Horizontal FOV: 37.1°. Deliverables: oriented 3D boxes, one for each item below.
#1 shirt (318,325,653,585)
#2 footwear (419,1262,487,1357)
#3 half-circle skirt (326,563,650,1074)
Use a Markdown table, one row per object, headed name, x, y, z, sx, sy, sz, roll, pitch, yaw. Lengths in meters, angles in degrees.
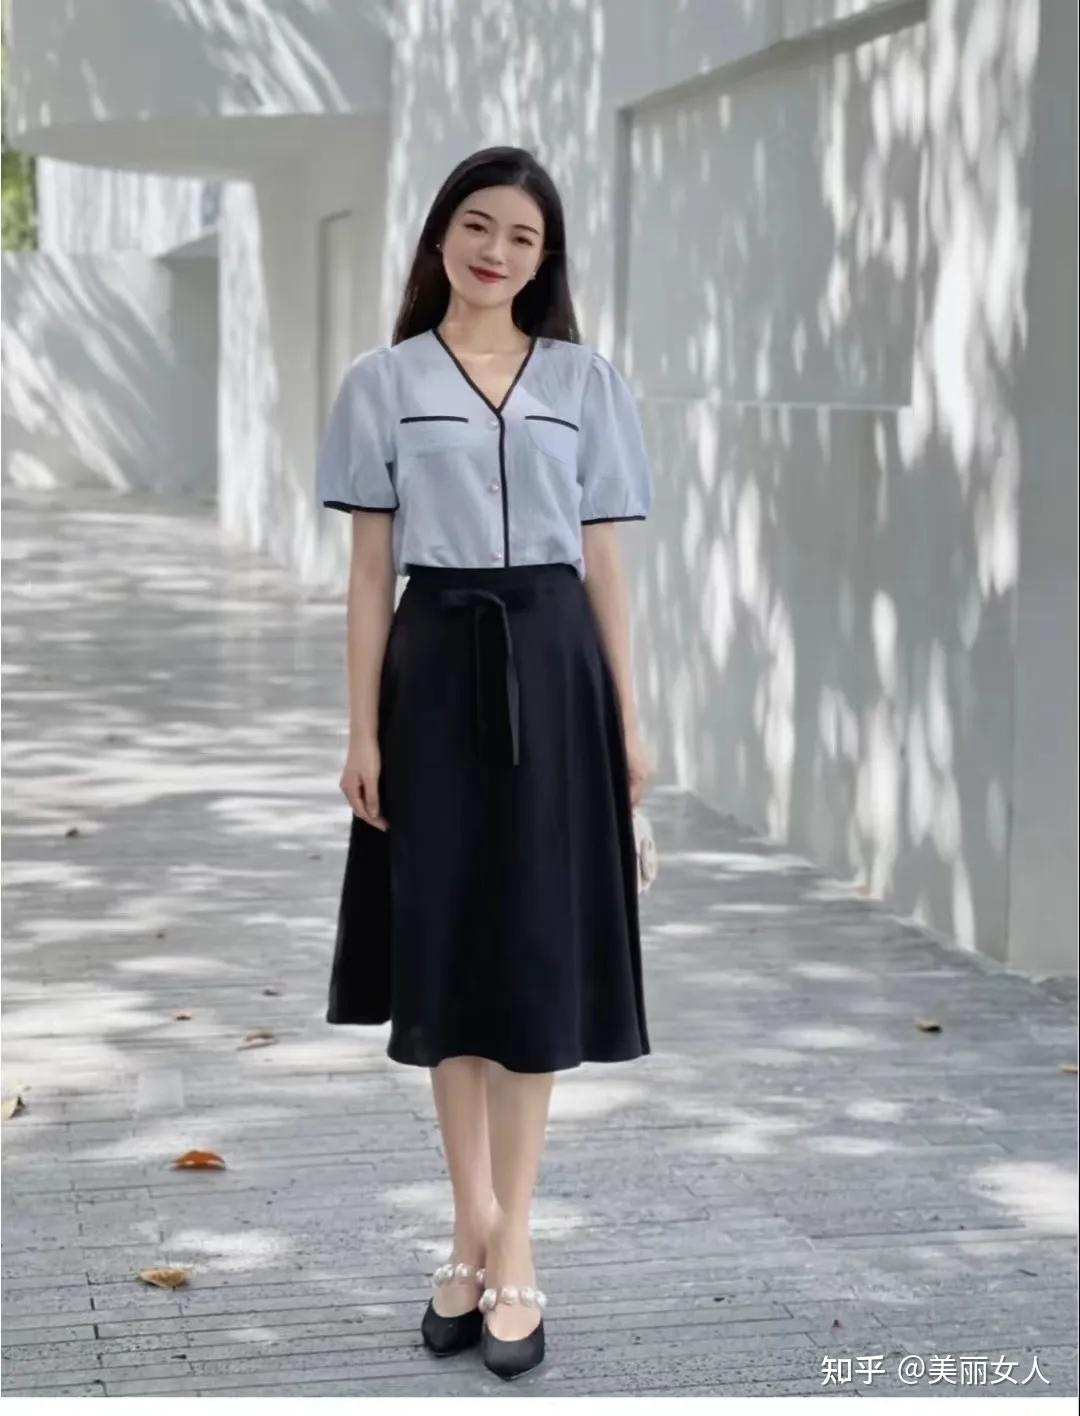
| name | x | y | z | sx | sy | sz | roll | pitch | yaw |
| --- | --- | --- | --- | --- | --- | --- | --- | --- | --- |
| shirt | -0.048 | -0.241 | 1.529 | 0.319 | 0.164 | 0.138 | 1 | 1 | -2 |
| footwear | -0.091 | 0.634 | 1.659 | 0.036 | 0.047 | 0.121 | -3 | 35 | 10 |
| half-circle skirt | -0.048 | 0.068 | 1.567 | 0.302 | 0.556 | 0.204 | 5 | 26 | 7 |
